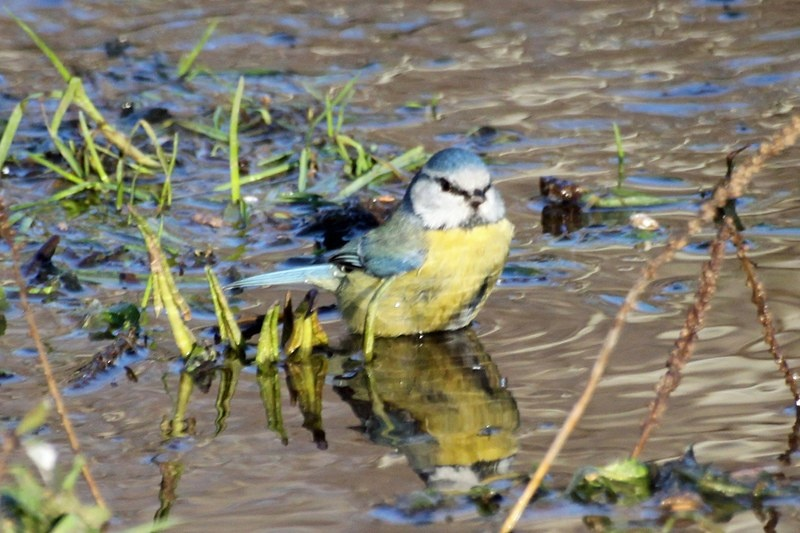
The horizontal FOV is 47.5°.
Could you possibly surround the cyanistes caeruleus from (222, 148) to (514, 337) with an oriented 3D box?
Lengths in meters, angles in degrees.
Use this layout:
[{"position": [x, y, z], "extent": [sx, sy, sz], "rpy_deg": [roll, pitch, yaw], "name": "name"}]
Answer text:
[{"position": [-0.098, -0.201, 6.436], "extent": [2.383, 1.237, 1.303], "rpy_deg": [4, 28, 37], "name": "cyanistes caeruleus"}]
